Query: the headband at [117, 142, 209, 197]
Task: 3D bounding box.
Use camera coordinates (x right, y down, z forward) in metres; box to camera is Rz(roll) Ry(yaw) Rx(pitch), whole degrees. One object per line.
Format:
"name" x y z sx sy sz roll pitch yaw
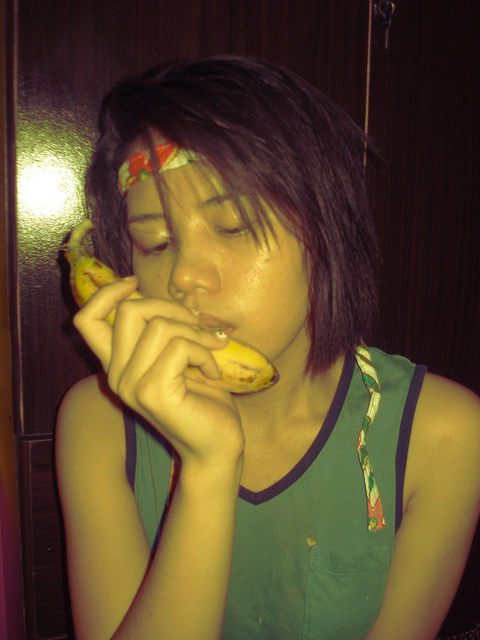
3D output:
"headband" -0.182 -0.375 1.578 0.167 0.043 0.169 -18 -1 -2
